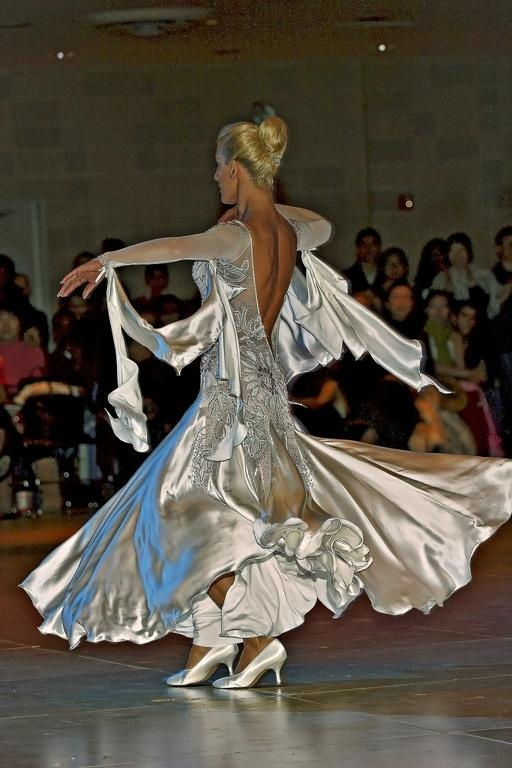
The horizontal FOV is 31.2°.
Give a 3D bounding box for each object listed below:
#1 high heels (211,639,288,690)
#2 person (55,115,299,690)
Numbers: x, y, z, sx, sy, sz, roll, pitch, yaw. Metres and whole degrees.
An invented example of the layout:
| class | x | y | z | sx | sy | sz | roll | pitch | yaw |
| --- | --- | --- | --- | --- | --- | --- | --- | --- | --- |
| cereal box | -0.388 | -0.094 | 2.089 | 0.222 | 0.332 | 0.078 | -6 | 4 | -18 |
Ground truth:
| class | x | y | z | sx | sy | sz | roll | pitch | yaw |
| --- | --- | --- | --- | --- | --- | --- | --- | --- | --- |
| high heels | 0.005 | 0.724 | 2.335 | 0.253 | 0.126 | 0.088 | -2 | -8 | 9 |
| person | -0.097 | 0.029 | 2.515 | 0.420 | 1.525 | 0.689 | -1 | 5 | 21 |
